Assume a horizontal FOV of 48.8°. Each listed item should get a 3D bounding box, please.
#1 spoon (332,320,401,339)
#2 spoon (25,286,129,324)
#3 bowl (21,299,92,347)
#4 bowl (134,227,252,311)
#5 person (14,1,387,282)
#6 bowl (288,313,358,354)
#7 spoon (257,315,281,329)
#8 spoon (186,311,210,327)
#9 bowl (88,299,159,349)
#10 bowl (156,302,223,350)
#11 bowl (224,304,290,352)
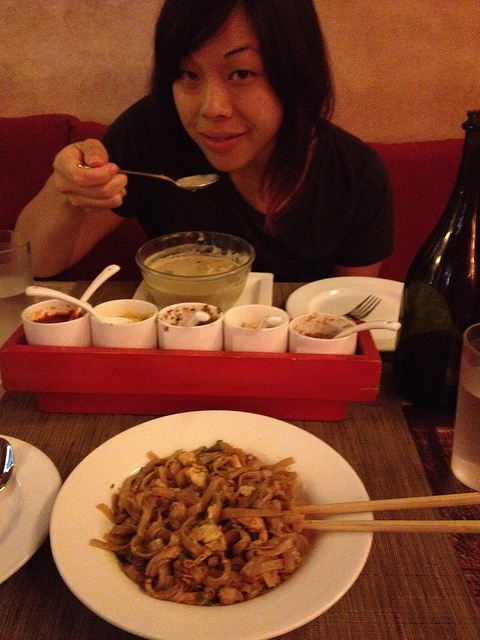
[{"bbox_3d":[0.226,0.017,0.960,0.019,0.015,0.123,-16,-1,-36],"label":"spoon"},{"bbox_3d":[-0.322,-0.028,1.046,0.174,0.030,0.034,24,9,-32],"label":"spoon"},{"bbox_3d":[-0.346,0.005,0.984,0.141,0.099,0.141,1,4,0],"label":"bowl"},{"bbox_3d":[-0.100,-0.107,1.302,0.262,0.156,0.263,0,30,0],"label":"bowl"},{"bbox_3d":[-0.040,-0.512,1.753,1.057,0.898,0.588,11,32,16],"label":"person"},{"bbox_3d":[0.145,0.024,0.950,0.087,0.062,0.086,-3,24,1],"label":"bowl"},{"bbox_3d":[0.052,0.008,0.932,0.038,0.025,0.032,3,30,4],"label":"spoon"},{"bbox_3d":[-0.074,-0.001,0.961,0.016,0.039,0.013,23,48,-31],"label":"spoon"},{"bbox_3d":[-0.207,0.001,0.996,0.091,0.083,0.118,12,25,19],"label":"bowl"},{"bbox_3d":[-0.103,0.000,0.986,0.111,0.077,0.111,2,11,0],"label":"bowl"},{"bbox_3d":[0.032,0.010,0.971,0.099,0.069,0.097,0,20,0],"label":"bowl"}]
